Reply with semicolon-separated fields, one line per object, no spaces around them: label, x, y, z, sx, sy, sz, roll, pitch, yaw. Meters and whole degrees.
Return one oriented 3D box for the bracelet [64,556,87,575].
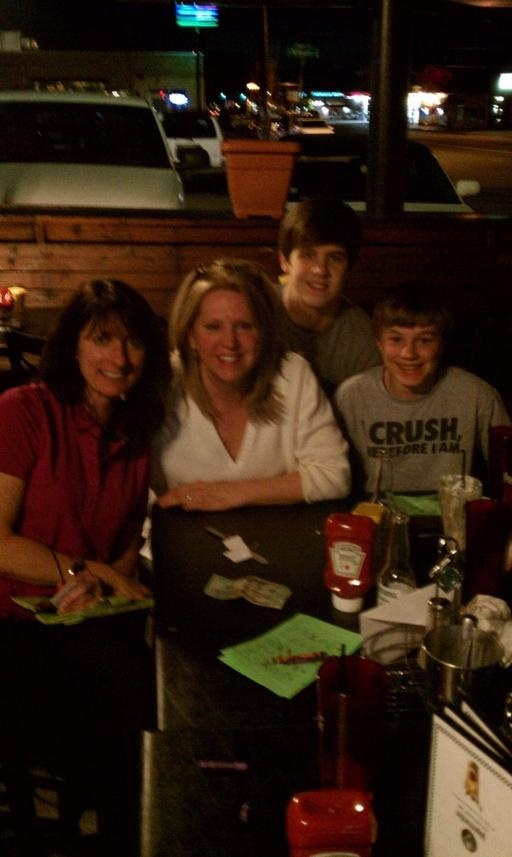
bracelet;-0.408;0.310;1.577;0.034;0.034;0.010;-1;17;-39

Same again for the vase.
vase;0.031;-1.568;4.292;0.529;0.445;0.422;0;25;-1

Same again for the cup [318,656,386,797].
cup;0.121;0.348;0.878;0.081;0.176;0.117;1;13;10
